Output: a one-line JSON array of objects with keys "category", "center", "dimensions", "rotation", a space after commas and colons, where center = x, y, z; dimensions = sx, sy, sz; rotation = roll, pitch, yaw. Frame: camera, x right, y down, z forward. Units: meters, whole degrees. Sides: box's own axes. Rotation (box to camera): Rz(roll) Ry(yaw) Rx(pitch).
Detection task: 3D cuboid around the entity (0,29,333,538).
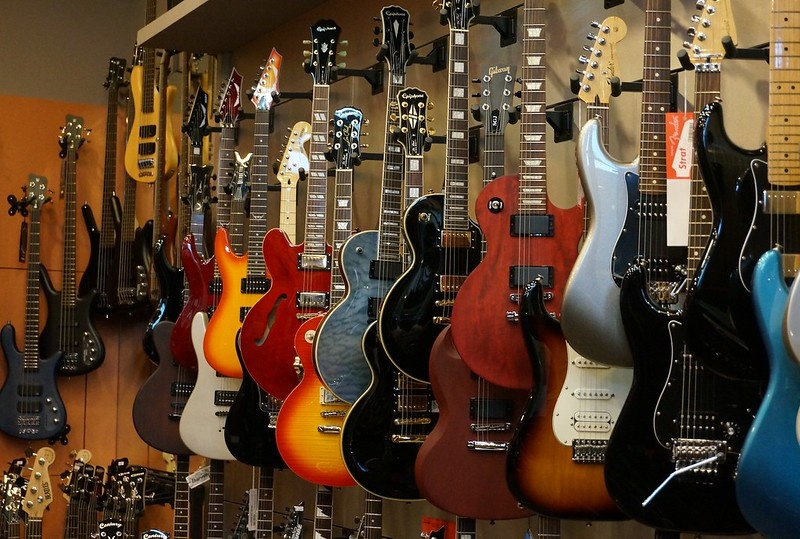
[{"category": "entity", "center": [-1.838, 0.299, 6.642], "dimensions": [1.610, 2.853, 1.166], "rotation": [-2, -5, 12]}]
